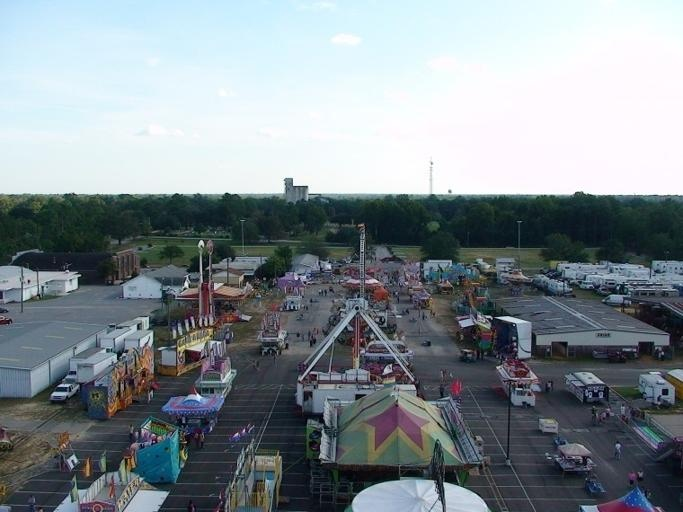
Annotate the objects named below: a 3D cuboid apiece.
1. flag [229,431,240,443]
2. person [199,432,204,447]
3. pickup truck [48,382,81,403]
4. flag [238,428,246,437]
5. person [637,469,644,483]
[{"bbox_3d":[-7.118,11.970,46.639,0.646,0.378,0.900,-3,6,-10],"label":"flag"},{"bbox_3d":[-9.201,11.931,46.163,0.322,0.881,1.099,-3,6,-9],"label":"person"},{"bbox_3d":[-20.448,9.982,51.773,1.109,1.074,1.988,1,6,23],"label":"pickup truck"},{"bbox_3d":[-6.617,11.750,46.975,0.298,0.396,0.146,3,-15,13],"label":"flag"},{"bbox_3d":[18.105,13.331,42.628,0.552,0.778,0.441,3,18,14],"label":"person"}]
